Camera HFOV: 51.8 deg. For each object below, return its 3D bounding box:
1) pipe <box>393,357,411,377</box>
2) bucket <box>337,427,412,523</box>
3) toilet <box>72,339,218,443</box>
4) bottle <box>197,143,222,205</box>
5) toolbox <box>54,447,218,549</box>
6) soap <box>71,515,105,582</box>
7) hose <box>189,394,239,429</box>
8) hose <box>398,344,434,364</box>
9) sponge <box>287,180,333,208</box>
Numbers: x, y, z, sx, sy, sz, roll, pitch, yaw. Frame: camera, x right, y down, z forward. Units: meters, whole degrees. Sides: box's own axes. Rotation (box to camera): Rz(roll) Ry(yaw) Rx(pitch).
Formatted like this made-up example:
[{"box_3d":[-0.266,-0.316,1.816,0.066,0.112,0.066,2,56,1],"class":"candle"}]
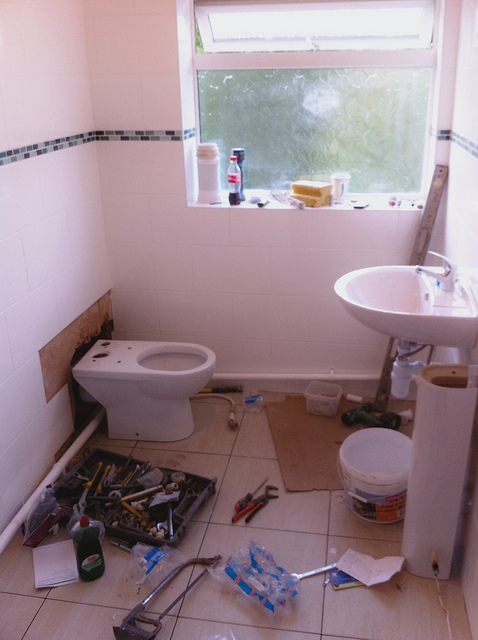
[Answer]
[{"box_3d":[0.547,0.150,1.654,0.055,0.065,0.056,9,27,21],"class":"pipe"},{"box_3d":[0.513,0.556,1.881,0.250,0.290,0.384,7,27,18],"class":"bucket"},{"box_3d":[-0.430,0.334,2.414,0.603,0.427,0.398,4,26,-5],"class":"toilet"},{"box_3d":[-0.161,-0.758,2.530,0.127,0.285,0.185,-3,25,-2],"class":"bottle"},{"box_3d":[-0.429,0.699,1.901,0.542,0.149,0.401,12,19,8],"class":"toolbox"},{"box_3d":[-0.460,0.707,1.558,0.115,0.231,0.120,-4,23,-17],"class":"soap"},{"box_3d":[-0.117,0.479,2.629,0.172,0.050,0.163,-3,38,0],"class":"hose"},{"box_3d":[0.674,0.128,1.870,0.115,0.067,0.118,-9,1,18],"class":"hose"},{"box_3d":[0.351,-0.632,2.463,0.209,0.098,0.164,7,27,17],"class":"sponge"}]
